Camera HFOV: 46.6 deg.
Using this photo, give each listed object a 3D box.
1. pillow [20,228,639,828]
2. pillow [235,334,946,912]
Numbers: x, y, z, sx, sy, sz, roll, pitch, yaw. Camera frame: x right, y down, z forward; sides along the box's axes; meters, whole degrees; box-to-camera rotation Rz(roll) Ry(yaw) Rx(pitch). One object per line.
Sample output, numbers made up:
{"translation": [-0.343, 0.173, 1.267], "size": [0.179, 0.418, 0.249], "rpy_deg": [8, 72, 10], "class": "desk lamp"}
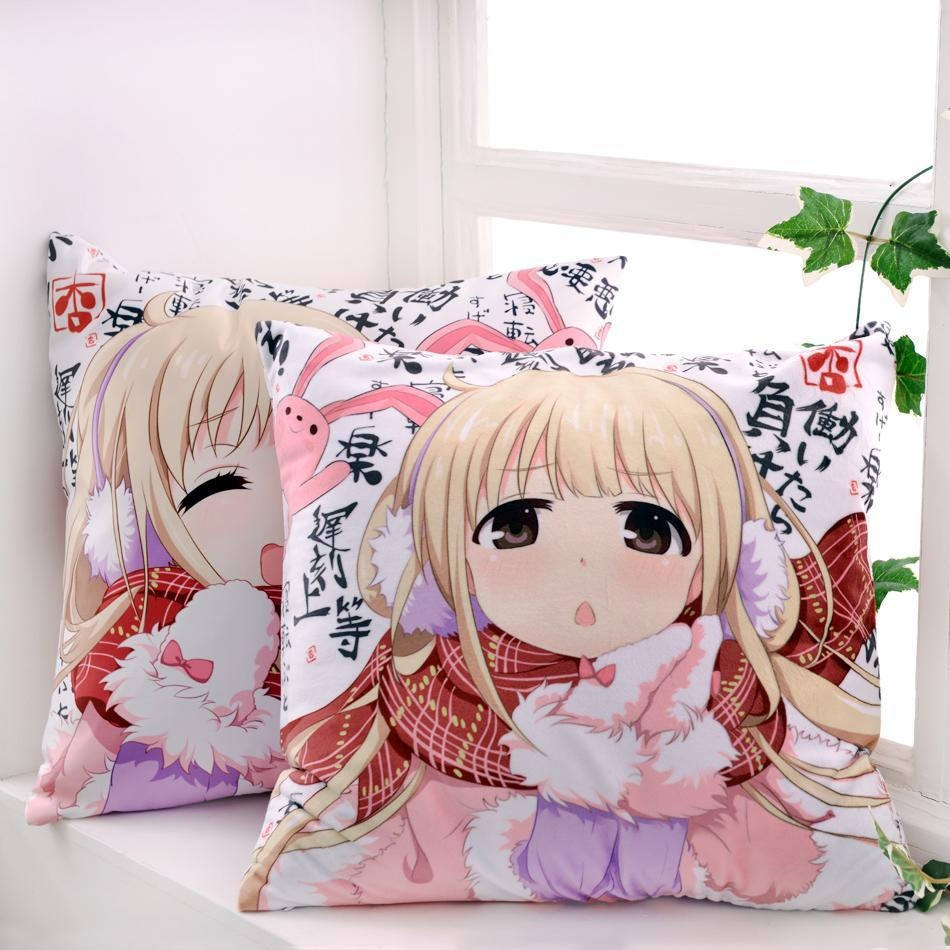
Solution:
{"translation": [-0.112, 0.019, 1.274], "size": [0.809, 0.624, 0.281], "rpy_deg": [3, 19, 22], "class": "pillow"}
{"translation": [0.106, 0.143, 1.014], "size": [0.696, 0.515, 0.244], "rpy_deg": [0, -5, 1], "class": "pillow"}
